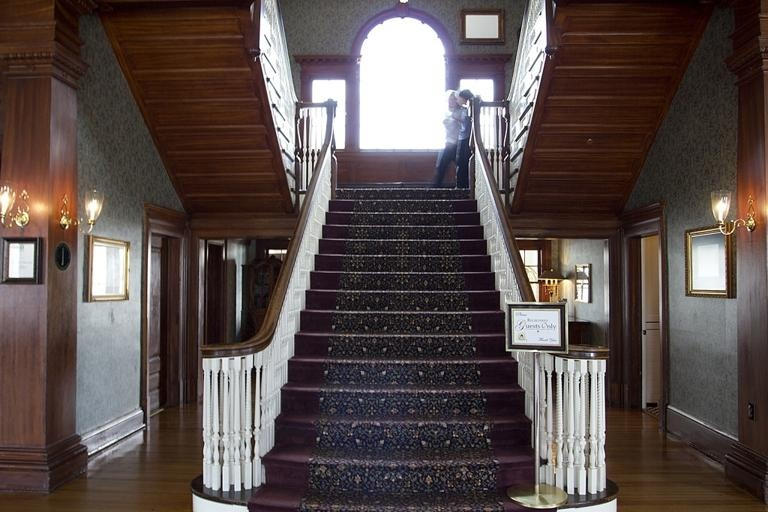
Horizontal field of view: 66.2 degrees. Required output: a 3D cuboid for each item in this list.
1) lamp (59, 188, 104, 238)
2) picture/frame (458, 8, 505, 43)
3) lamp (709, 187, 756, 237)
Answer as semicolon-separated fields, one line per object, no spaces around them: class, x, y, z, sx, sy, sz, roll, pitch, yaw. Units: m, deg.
lamp;-3.492;-0.526;6.884;0.364;0.539;0.812;-1;6;-10
picture/frame;1.860;-4.314;11.015;0.646;0.488;0.052;0;1;1
lamp;3.939;-0.456;6.643;0.402;0.496;0.239;0;-20;27
